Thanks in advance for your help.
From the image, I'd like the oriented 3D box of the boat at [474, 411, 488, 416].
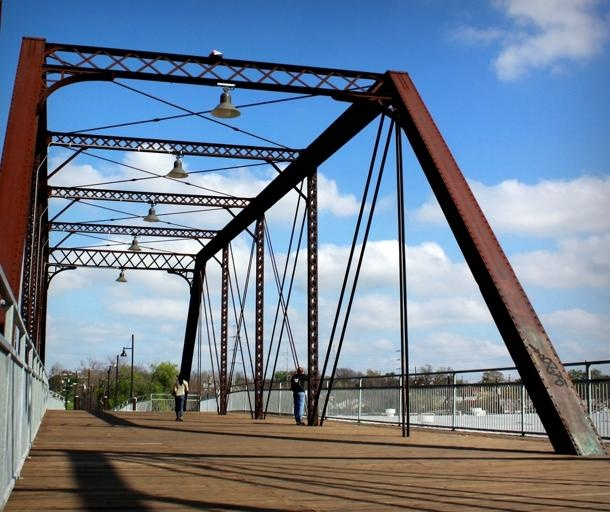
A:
[{"bbox_3d":[3.966,3.506,15.221,0.022,0.164,0.436,4,-11,-22],"label":"boat"}]
